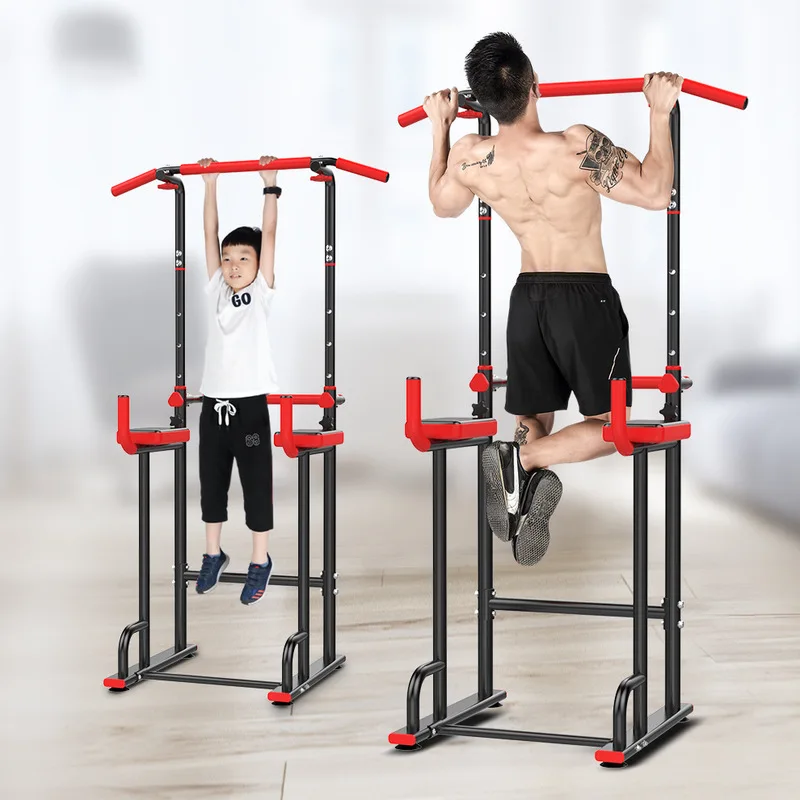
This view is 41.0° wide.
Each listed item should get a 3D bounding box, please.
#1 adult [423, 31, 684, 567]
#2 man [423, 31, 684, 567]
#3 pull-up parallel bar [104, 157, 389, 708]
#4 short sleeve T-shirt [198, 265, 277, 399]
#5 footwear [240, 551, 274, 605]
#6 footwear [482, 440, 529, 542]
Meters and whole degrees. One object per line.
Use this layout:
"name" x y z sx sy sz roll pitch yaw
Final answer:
"adult" 0.421 -0.281 3.132 0.777 1.536 0.472 1 5 16
"man" 0.421 -0.281 3.130 0.775 1.536 0.471 1 5 16
"pull-up parallel bar" -0.580 0.071 3.805 0.969 1.825 1.117 -2 5 -15
"short sleeve T-shirt" -0.578 -0.235 3.847 0.296 0.454 0.176 -2 -5 19
"footwear" -0.514 0.635 3.753 0.076 0.203 0.084 3 -32 28
"footwear" 0.301 0.260 3.037 0.139 0.287 0.111 1 5 12
